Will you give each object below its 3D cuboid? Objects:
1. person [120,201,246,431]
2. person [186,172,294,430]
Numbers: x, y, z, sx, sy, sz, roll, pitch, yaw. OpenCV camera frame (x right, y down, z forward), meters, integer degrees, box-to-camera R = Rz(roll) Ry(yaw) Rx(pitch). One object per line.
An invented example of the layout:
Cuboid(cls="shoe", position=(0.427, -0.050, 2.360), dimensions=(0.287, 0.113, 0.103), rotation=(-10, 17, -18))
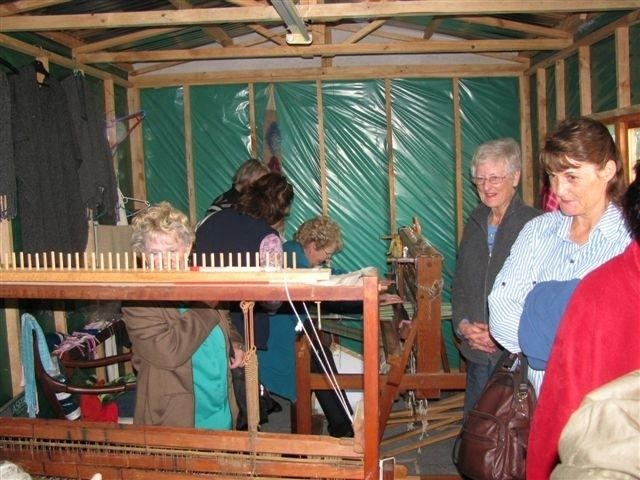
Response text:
Cuboid(cls="person", position=(-0.823, 0.486, 4.817), dimensions=(0.685, 1.424, 0.553), rotation=(-3, 2, -16))
Cuboid(cls="person", position=(-0.532, 0.418, 5.992), dimensions=(0.771, 1.911, 0.770), rotation=(2, 21, 4))
